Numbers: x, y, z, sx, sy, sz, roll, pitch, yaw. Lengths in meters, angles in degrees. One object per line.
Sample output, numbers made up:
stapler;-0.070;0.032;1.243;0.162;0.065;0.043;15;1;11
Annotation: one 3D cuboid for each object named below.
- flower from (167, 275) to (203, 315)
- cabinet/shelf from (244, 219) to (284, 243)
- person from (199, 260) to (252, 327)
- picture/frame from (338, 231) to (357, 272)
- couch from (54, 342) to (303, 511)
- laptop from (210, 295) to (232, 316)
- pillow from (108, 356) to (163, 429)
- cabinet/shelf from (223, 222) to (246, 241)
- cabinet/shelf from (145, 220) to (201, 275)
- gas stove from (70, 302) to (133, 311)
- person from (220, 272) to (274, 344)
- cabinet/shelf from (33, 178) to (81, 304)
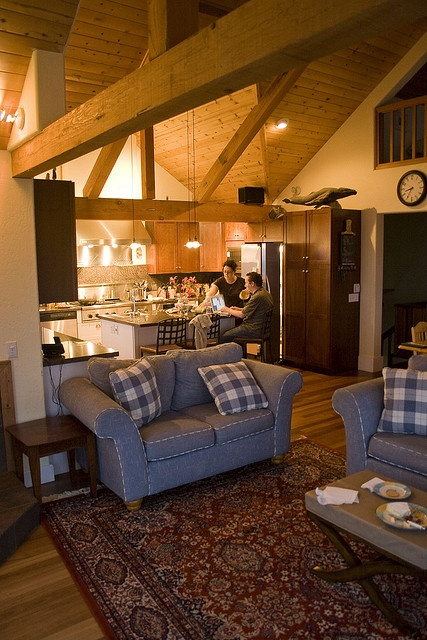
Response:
flower;-0.510;-0.427;7.895;0.772;0.751;0.399;-3;5;-32
cabinet/shelf;0.779;-1.433;7.634;0.168;0.394;1.012;-4;5;-26
person;0.186;-0.341;6.928;0.821;0.993;0.690;-17;27;-34
picture/frame;1.903;-0.969;6.603;0.094;0.518;0.384;2;6;42
couch;-0.199;0.740;3.715;1.788;0.899;0.863;-5;8;-34
laptop;0.093;-0.191;6.126;0.282;0.204;0.232;-1;5;-42
pillow;-0.555;0.533;3.313;0.188;0.353;0.408;-1;11;21
cabinet/shelf;0.431;-1.655;8.735;0.176;0.395;0.709;-4;5;-24
cabinet/shelf;-0.781;-1.332;8.417;0.935;0.899;0.331;-4;7;-36
gas stove;-1.847;-0.217;7.725;1.046;0.111;0.226;-6;6;-39
person;0.374;0.015;6.429;0.796;1.298;0.587;5;7;15
cabinet/shelf;-1.178;-0.583;3.500;0.283;0.870;0.168;-4;5;-21
